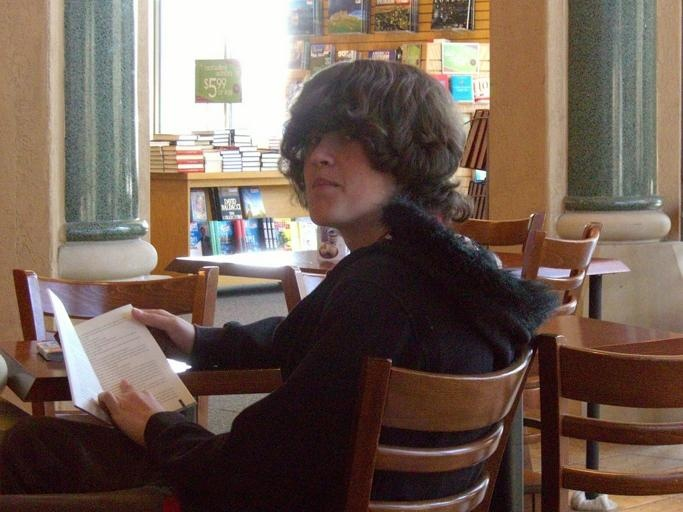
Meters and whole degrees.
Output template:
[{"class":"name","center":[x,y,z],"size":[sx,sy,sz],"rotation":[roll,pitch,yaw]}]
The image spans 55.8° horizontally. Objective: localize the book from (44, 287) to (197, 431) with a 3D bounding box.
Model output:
[{"class":"book","center":[-0.476,0.213,1.267],"size":[0.250,0.116,0.331],"rotation":[4,28,-49]}]

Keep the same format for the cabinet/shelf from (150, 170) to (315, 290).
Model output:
[{"class":"cabinet/shelf","center":[-0.888,-0.222,4.742],"size":[0.340,0.792,1.070],"rotation":[3,6,39]}]

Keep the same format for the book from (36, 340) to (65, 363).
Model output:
[{"class":"book","center":[-0.595,0.194,1.318],"size":[0.033,0.013,0.057],"rotation":[-4,14,-24]}]
